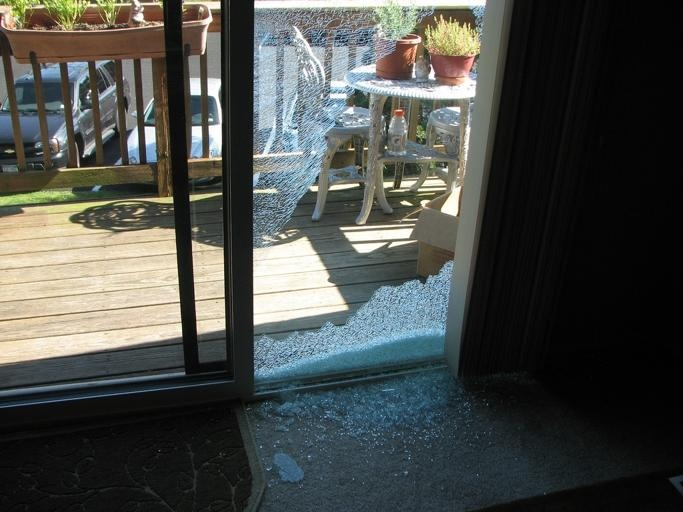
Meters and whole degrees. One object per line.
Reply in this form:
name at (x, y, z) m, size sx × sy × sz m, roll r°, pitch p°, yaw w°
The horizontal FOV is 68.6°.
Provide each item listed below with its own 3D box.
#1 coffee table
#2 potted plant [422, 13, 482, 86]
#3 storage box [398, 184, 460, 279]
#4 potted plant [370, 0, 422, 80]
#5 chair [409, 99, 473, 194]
coffee table at (0.291, -0.497, 2.048) m, size 0.579 × 0.527 × 0.531 m, roll -5°, pitch 46°, yaw -5°
potted plant at (0.398, -0.731, 1.816) m, size 0.214 × 0.198 × 0.199 m, roll -16°, pitch 32°, yaw -26°
storage box at (0.400, -0.099, 2.283) m, size 0.376 × 0.246 × 0.245 m, roll -20°, pitch 48°, yaw -12°
potted plant at (0.186, -0.711, 1.658) m, size 0.177 × 0.237 × 0.061 m, roll -11°, pitch 27°, yaw -28°
chair at (0.516, -0.467, 2.409) m, size 0.231 × 0.292 × 0.223 m, roll 9°, pitch 16°, yaw 4°
